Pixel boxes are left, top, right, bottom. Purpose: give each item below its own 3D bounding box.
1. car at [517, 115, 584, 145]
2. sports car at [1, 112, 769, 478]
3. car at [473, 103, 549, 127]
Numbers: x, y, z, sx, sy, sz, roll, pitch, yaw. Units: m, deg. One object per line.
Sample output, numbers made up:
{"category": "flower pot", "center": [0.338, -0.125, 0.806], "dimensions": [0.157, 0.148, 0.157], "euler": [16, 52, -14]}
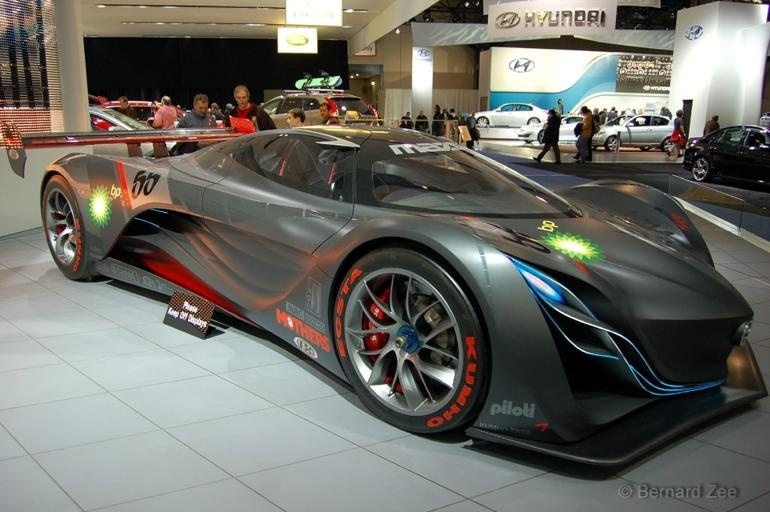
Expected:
{"category": "car", "center": [7.546, -5.866, 19.327], "dimensions": [3.386, 1.010, 1.560], "euler": [1, 13, 0]}
{"category": "sports car", "center": [-0.509, -0.175, 3.132], "dimensions": [4.759, 1.163, 2.131], "euler": [16, 21, 32]}
{"category": "car", "center": [6.650, -7.437, 22.032], "dimensions": [4.223, 1.263, 1.703], "euler": [4, 12, 4]}
